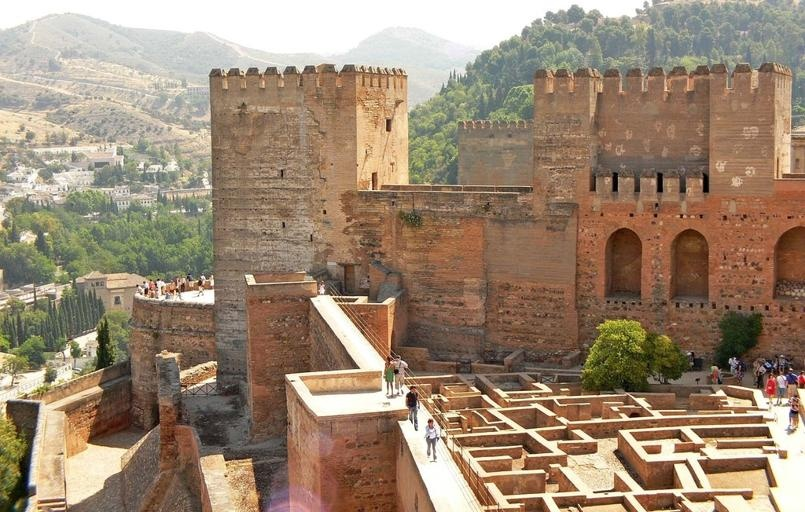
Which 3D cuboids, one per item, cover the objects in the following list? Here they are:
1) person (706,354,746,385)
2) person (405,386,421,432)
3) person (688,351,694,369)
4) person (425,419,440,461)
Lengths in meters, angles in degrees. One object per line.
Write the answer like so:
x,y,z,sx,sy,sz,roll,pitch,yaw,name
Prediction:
14.284,5.085,39.089,1.564,1.339,1.098,-4,4,-34,person
0.329,5.039,28.631,0.415,1.068,0.825,1,2,-3,person
13.311,4.792,40.300,0.209,0.716,0.592,3,2,40,person
0.926,5.724,27.170,0.421,1.157,0.772,1,2,1,person
